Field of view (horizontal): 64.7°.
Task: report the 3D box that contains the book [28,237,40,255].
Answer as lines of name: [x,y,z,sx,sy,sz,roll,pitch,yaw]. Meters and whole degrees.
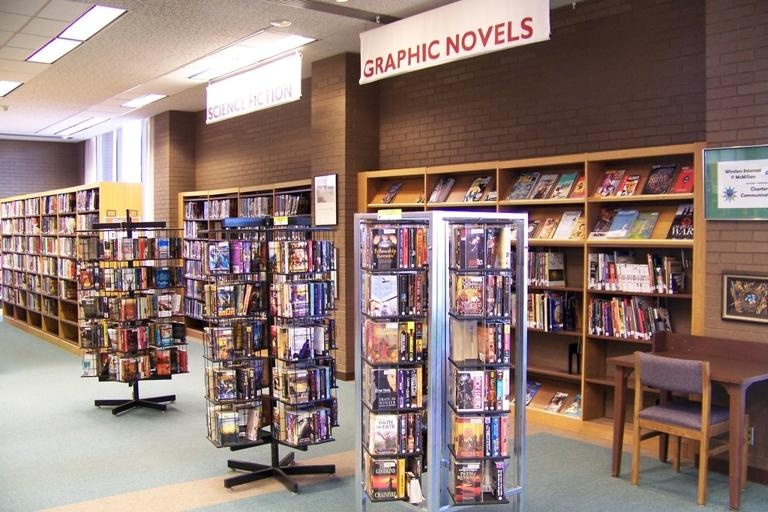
book: [-7.706,-0.233,13.340,0.316,0.373,0.423,3,-5,-38]

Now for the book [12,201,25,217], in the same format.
book: [-8.399,-1.097,13.922,0.336,0.390,0.437,3,-6,-35]

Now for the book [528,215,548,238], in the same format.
book: [1.897,-0.366,7.574,0.078,0.258,0.304,14,-5,-34]

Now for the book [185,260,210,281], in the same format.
book: [-3.166,0.243,10.236,0.244,0.364,0.429,4,-8,-42]

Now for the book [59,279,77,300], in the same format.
book: [-6.012,0.632,11.543,0.248,0.390,0.457,4,-6,-43]

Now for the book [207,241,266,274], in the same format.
book: [-1.462,0.006,6.004,0.565,0.319,0.142,-2,7,-9]

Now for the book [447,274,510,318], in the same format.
book: [0.796,0.316,4.845,0.429,0.343,0.085,-1,7,-4]

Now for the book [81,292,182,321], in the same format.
book: [-3.442,0.667,8.219,1.176,0.349,0.578,1,6,14]

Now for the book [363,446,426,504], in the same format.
book: [0.047,1.780,5.046,0.574,0.470,0.385,0,0,-5]

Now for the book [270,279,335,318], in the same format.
book: [-0.788,0.406,5.789,0.595,0.339,0.266,-1,6,-5]

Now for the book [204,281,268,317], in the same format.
book: [-1.481,0.433,6.063,0.631,0.343,0.171,-2,7,-9]

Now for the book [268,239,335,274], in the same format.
book: [-0.760,0.000,5.855,0.538,0.301,0.169,-3,7,-21]

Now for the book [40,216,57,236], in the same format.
book: [-6.856,-0.620,12.393,0.354,0.408,0.450,3,-6,-31]

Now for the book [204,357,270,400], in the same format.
book: [-1.474,1.122,6.104,0.623,0.517,0.438,0,1,-34]

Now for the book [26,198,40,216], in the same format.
book: [-7.570,-1.058,13.064,0.324,0.372,0.436,4,-7,-39]

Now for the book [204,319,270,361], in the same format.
book: [-1.426,0.831,5.985,0.561,0.354,0.162,-1,7,-6]

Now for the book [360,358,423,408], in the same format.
book: [0.054,1.009,5.031,0.509,0.431,0.350,1,-1,-2]

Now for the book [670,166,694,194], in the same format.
book: [3.200,-0.823,6.484,0.210,0.286,0.279,3,7,31]

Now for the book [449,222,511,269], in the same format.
book: [0.773,-0.076,4.870,0.487,0.362,0.151,-1,7,-3]

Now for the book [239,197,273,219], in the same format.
book: [-2.295,-0.893,10.765,0.209,0.338,0.940,-7,8,-42]

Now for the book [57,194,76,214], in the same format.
book: [-6.036,-1.001,11.529,0.328,0.377,0.434,3,-6,-35]

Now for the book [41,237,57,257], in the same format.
book: [-6.908,-0.195,12.496,0.254,0.402,0.459,-3,4,-43]

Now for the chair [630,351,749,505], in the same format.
chair: [2.914,1.557,5.928,0.824,1.313,0.993,3,7,28]

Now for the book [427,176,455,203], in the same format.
book: [0.801,-0.913,8.326,0.126,0.384,0.299,26,-12,9]

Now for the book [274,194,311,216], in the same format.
book: [-1.473,-0.841,9.909,0.658,0.403,0.330,-1,-4,35]

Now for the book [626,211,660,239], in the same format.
book: [2.895,-0.346,6.755,0.229,0.284,0.224,-6,9,-40]

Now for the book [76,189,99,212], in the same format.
book: [-5.182,-0.976,10.594,0.490,0.434,0.361,-3,-4,44]

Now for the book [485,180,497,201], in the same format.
book: [1.365,-0.831,7.810,0.077,0.228,0.177,16,-35,1]

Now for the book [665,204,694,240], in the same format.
book: [3.183,-0.373,6.493,0.243,0.370,0.252,3,7,27]

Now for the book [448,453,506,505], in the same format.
book: [0.763,1.800,4.837,0.424,0.351,0.118,-1,7,1]

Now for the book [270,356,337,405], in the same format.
book: [-0.739,1.212,5.977,0.570,0.376,0.551,0,-1,14]

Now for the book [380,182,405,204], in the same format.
book: [0.119,-0.940,8.980,0.082,0.329,0.269,44,-23,-29]

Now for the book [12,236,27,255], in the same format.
book: [-8.465,-0.259,14.078,0.325,0.377,0.442,5,-8,-37]

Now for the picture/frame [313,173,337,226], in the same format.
picture/frame: [-0.943,-0.875,9.356,0.230,0.797,0.620,-6,8,-34]

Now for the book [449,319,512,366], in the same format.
book: [0.762,0.675,4.899,0.404,0.450,0.508,0,-3,-5]
